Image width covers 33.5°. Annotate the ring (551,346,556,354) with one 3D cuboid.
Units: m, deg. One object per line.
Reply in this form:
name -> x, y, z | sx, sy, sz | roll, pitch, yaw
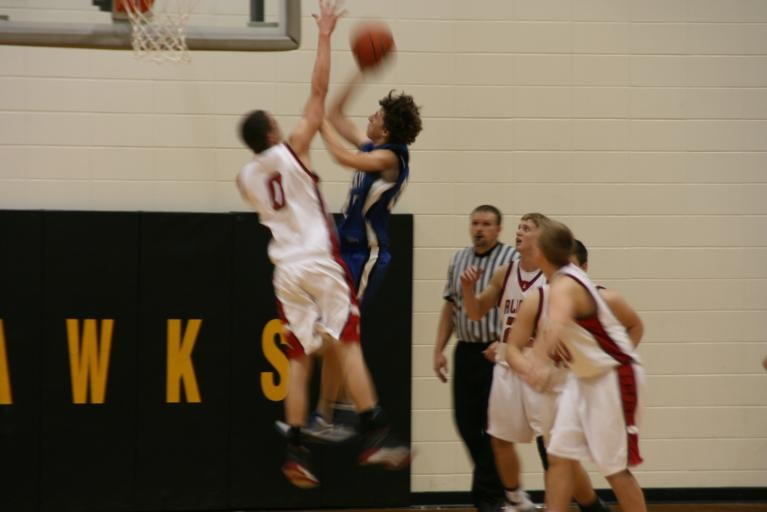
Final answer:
ring -> 1.206, 0.667, 9.003 | 0.040, 0.057, 0.015 | 5, 21, 7
